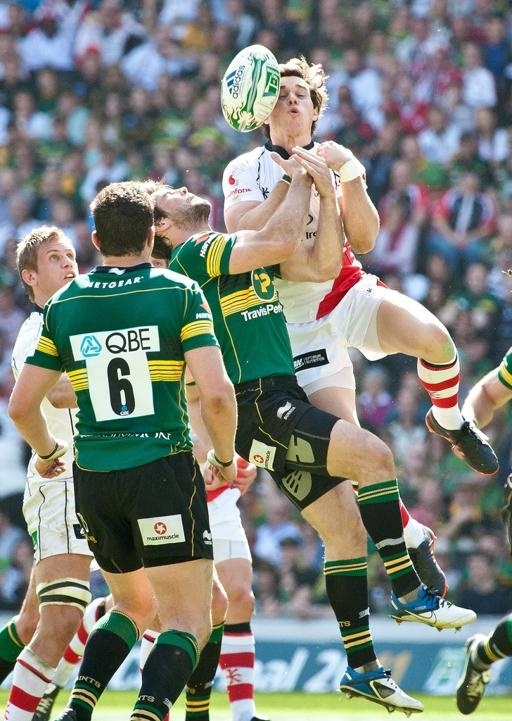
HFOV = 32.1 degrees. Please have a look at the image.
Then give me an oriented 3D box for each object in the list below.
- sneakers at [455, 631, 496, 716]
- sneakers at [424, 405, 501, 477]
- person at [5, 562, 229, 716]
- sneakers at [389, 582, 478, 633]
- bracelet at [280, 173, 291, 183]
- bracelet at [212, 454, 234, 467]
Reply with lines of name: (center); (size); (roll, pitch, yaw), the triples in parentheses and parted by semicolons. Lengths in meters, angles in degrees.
sneakers: (0.915, 1.349, 3.840); (0.140, 0.363, 0.150); (5, 25, -22)
sneakers: (0.984, 0.387, 4.152); (0.448, 0.188, 0.173); (40, 48, -11)
person: (-0.642, 1.141, 3.809); (0.618, 0.662, 0.715); (20, 57, 1)
sneakers: (0.631, 0.939, 3.498); (0.425, 0.207, 0.135); (4, 22, 0)
bracelet: (0.121, -0.742, 3.676); (0.040, 0.040, 0.038); (2, 80, -8)
bracelet: (-0.128, 0.359, 3.139); (0.059, 0.024, 0.074); (6, -1, -8)
